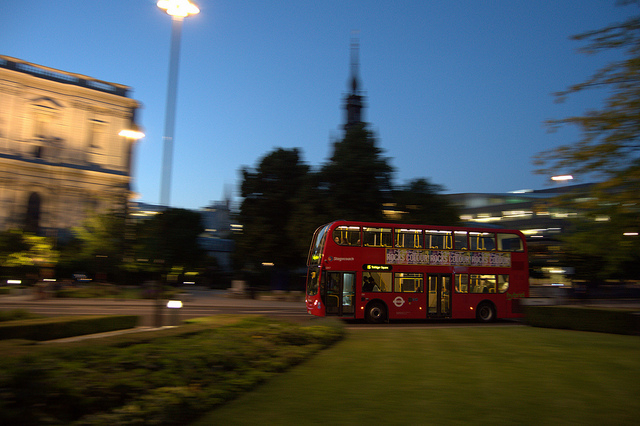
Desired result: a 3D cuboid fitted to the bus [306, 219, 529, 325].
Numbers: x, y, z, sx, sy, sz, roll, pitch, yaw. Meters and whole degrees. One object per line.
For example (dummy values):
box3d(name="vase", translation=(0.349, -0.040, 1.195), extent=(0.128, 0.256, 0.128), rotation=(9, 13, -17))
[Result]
box3d(name="bus", translation=(4.736, 2.946, 28.873), extent=(11.412, 3.303, 3.308), rotation=(3, -6, -20))
